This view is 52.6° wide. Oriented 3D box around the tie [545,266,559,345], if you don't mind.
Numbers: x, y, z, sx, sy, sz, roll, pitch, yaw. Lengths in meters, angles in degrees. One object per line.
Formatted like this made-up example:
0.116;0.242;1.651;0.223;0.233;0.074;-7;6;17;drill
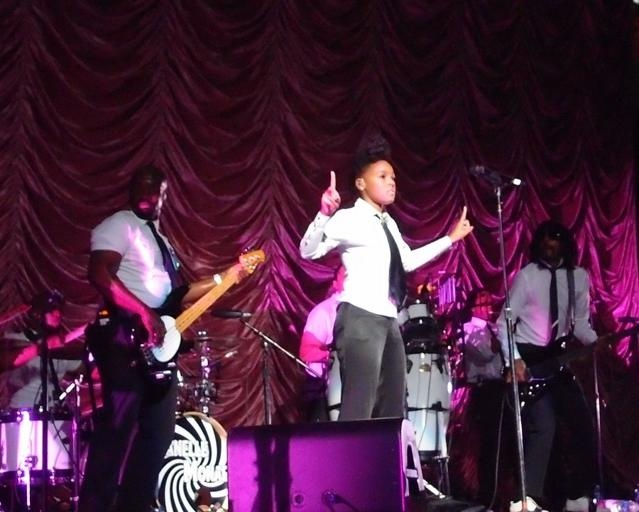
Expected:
1.824;0.345;5.030;0.074;0.085;0.820;11;-34;29;tie

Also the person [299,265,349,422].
0.018;0.771;5.316;0.356;0.494;1.366;9;27;3;person

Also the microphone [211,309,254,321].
-0.772;0.513;5.603;0.248;0.069;0.149;9;1;0;microphone

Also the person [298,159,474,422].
0.356;0.174;3.954;0.937;1.676;0.423;11;-18;-32;person

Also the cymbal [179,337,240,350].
-0.992;0.776;5.755;0.324;0.097;0.370;0;-4;-4;cymbal
